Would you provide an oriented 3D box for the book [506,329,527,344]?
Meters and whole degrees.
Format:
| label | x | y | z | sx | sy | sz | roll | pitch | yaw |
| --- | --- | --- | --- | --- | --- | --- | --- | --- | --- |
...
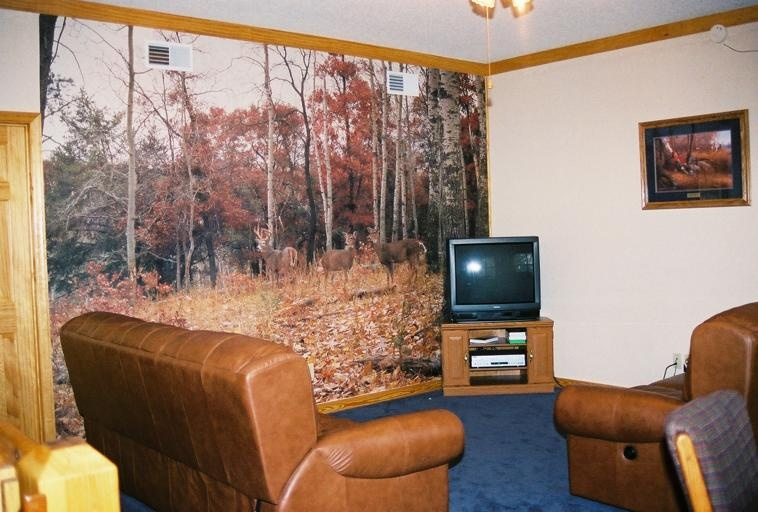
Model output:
| label | x | y | z | sx | sy | sz | roll | pitch | yaw |
| --- | --- | --- | --- | --- | --- | --- | --- | --- | --- |
| book | 1.395 | 0.793 | 6.008 | 0.149 | 0.089 | 0.143 | -2 | 4 | -20 |

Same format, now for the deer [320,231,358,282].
| label | x | y | z | sx | sy | sz | roll | pitch | yaw |
| --- | --- | --- | --- | --- | --- | --- | --- | --- | --- |
| deer | -0.354 | 0.017 | 5.885 | 0.193 | 0.450 | 0.513 | -4 | -5 | -43 |
